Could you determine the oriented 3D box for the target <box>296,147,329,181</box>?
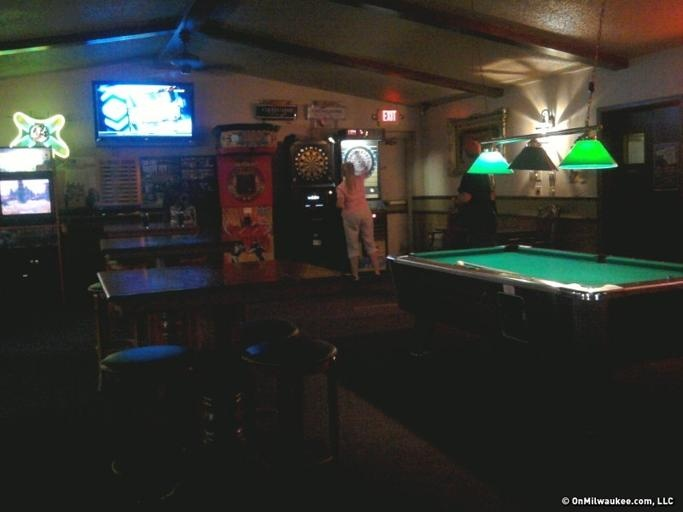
[{"bbox_3d":[-0.426,-1.386,8.744,0.512,0.485,0.131,3,3,-23],"label":"target"}]

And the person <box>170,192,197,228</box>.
[{"bbox_3d":[-2.083,-0.584,7.705,0.324,0.367,1.781,-4,14,-12],"label":"person"}]

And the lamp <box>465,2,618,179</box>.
[{"bbox_3d":[2.280,-1.883,6.552,0.427,1.716,1.692,-4,8,-42],"label":"lamp"}]
